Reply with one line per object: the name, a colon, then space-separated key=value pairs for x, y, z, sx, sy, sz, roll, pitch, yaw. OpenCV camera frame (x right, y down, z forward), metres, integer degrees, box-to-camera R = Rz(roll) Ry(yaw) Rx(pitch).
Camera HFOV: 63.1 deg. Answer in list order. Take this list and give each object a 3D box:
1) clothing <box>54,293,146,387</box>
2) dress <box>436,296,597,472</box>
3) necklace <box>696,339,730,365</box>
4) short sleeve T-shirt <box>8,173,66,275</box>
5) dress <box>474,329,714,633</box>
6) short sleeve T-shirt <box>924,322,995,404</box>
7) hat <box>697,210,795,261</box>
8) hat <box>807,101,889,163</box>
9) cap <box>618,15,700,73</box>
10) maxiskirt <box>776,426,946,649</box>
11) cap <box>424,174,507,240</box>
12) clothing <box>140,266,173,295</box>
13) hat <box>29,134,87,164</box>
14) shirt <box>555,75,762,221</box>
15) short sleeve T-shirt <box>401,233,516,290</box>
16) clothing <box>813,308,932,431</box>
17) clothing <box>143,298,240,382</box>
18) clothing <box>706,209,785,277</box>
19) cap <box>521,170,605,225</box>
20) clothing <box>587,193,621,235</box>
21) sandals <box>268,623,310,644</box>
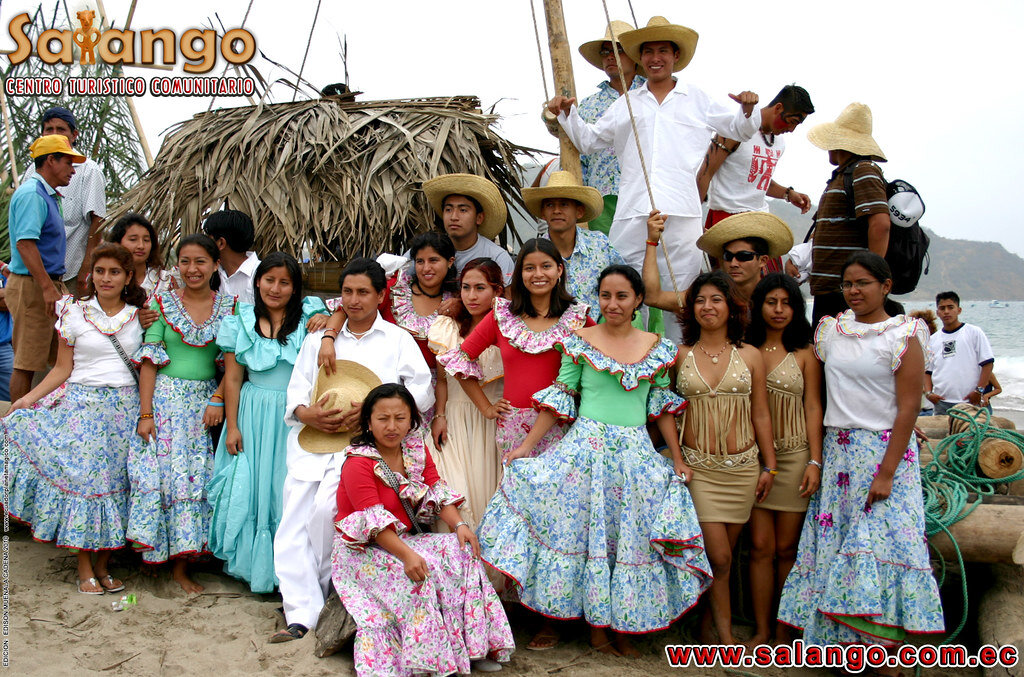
clothing: x=-2.793 y=0.020 z=5.683 sx=0.630 sy=0.588 sz=0.340 roll=2 pitch=-2 yaw=-33
dress: x=0.054 y=0.310 z=5.436 sx=1.146 sy=1.241 sz=0.450 roll=0 pitch=4 yaw=-2
necklace: x=1.291 y=0.089 z=5.378 sx=0.195 sy=0.134 sz=0.082 roll=6 pitch=30 yaw=18
short sleeve T-shirt: x=-3.616 y=-0.864 z=6.397 sx=0.418 sy=0.745 sz=0.747 roll=0 pitch=9 yaw=-20
dress: x=0.555 y=0.909 z=5.240 sx=1.634 sy=1.990 sz=0.708 roll=6 pitch=-17 yaw=-3
short sleeve T-shirt: x=4.456 y=0.267 z=8.373 sx=0.767 sy=0.874 sz=0.351 roll=-7 pitch=-14 yaw=40
hat: x=1.684 y=-0.678 z=5.938 sx=0.667 sy=0.178 sz=0.662 roll=-6 pitch=-3 yaw=38
hat: x=2.464 y=-1.552 z=6.055 sx=0.597 sy=0.342 sz=0.557 roll=20 pitch=32 yaw=19
cap: x=1.074 y=-2.168 z=6.217 sx=0.546 sy=0.266 sz=0.394 roll=0 pitch=4 yaw=1
maxiskirt: x=2.149 y=1.244 z=5.172 sx=0.925 sy=1.334 sz=0.388 roll=2 pitch=5 yaw=17
cap: x=-0.343 y=-0.950 z=6.040 sx=0.593 sy=0.443 sz=0.280 roll=0 pitch=5 yaw=-4
clothing: x=-2.523 y=-0.416 z=5.940 sx=0.179 sy=0.243 sz=0.097 roll=0 pitch=-23 yaw=7
hat: x=-3.451 y=-1.440 z=6.368 sx=0.374 sy=0.183 sz=0.243 roll=-1 pitch=11 yaw=-33
shirt: x=1.096 y=-1.404 z=6.236 sx=1.553 sy=1.105 sz=0.475 roll=3 pitch=5 yaw=16
short sleeve T-shirt: x=-0.344 y=-0.616 z=6.029 sx=0.672 sy=0.647 sz=0.355 roll=4 pitch=-9 yaw=5
clothing: x=2.216 y=0.202 z=5.209 sx=0.412 sy=0.745 sz=0.715 roll=11 pitch=-10 yaw=-39
clothing: x=-2.233 y=-0.025 z=5.847 sx=0.665 sy=0.602 sz=0.390 roll=3 pitch=8 yaw=-34
clothing: x=1.716 y=-0.730 z=5.884 sx=0.578 sy=0.159 sz=0.601 roll=21 pitch=28 yaw=28
cap: x=0.367 y=-1.036 z=6.030 sx=0.626 sy=0.261 sz=0.739 roll=-2 pitch=-15 yaw=10
clothing: x=0.741 y=-0.988 z=6.734 sx=0.218 sy=0.348 sz=0.255 roll=7 pitch=10 yaw=-12
sandals: x=-1.368 y=1.831 z=5.144 sx=0.207 sy=0.087 sz=0.096 roll=4 pitch=-25 yaw=-6
